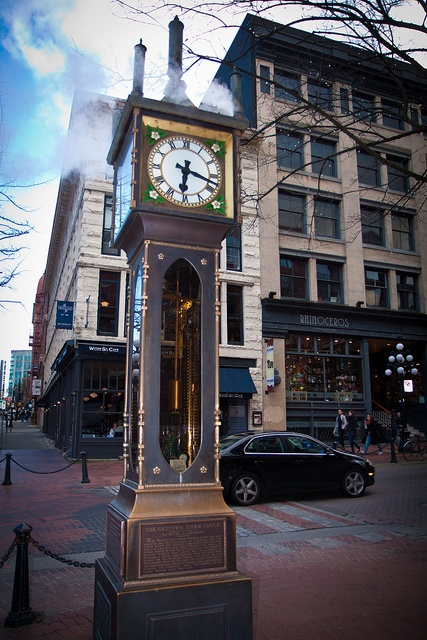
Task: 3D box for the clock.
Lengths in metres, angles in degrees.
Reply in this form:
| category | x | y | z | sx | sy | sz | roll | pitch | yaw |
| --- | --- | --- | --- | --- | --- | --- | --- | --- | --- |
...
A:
| category | x | y | z | sx | sy | sz | roll | pitch | yaw |
| --- | --- | --- | --- | --- | --- | --- | --- | --- | --- |
| clock | -0.212 | -1.051 | 3.485 | 0.771 | 0.680 | 0.051 | 7 | -22 | -26 |

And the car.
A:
| category | x | y | z | sx | sy | sz | roll | pitch | yaw |
| --- | --- | --- | --- | --- | --- | --- | --- | --- | --- |
| car | 1.595 | 3.078 | 10.253 | 3.435 | 1.372 | 0.603 | 5 | -12 | -24 |
